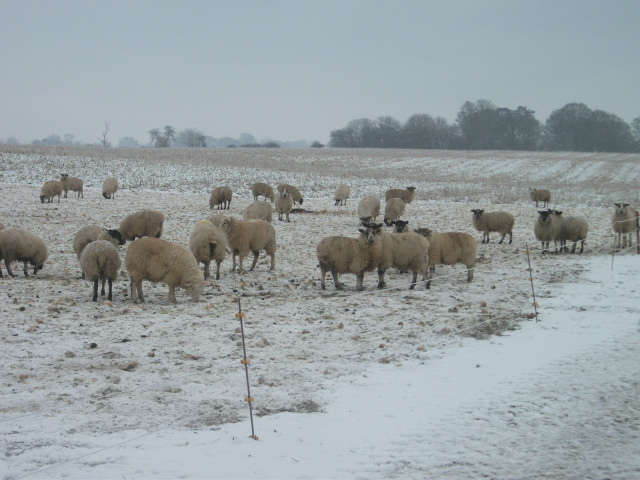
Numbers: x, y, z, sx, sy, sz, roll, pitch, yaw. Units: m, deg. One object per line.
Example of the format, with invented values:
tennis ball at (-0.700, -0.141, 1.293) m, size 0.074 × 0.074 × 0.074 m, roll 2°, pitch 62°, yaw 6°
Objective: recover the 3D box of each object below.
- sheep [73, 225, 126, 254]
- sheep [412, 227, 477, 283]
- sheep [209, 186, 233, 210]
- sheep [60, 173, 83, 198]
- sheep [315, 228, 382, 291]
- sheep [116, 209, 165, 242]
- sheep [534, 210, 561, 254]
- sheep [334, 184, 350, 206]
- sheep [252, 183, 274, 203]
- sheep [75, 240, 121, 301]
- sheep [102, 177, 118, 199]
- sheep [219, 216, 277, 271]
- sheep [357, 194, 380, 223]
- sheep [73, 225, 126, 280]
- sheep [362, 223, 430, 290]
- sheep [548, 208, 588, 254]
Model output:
sheep at (-6.155, -0.014, 22.956) m, size 1.362 × 1.061 × 0.654 m, roll 1°, pitch 12°, yaw -7°
sheep at (3.706, 0.494, 23.722) m, size 2.137 × 1.598 × 0.837 m, roll -2°, pitch -11°, yaw 32°
sheep at (-4.225, -1.851, 35.022) m, size 0.880 × 1.082 × 1.258 m, roll 1°, pitch 12°, yaw 5°
sheep at (-11.441, -2.501, 37.681) m, size 0.817 × 1.134 × 1.787 m, roll 3°, pitch 13°, yaw 14°
sheep at (0.918, 0.491, 22.767) m, size 2.399 × 1.830 × 0.861 m, roll -3°, pitch 1°, yaw 44°
sheep at (-5.824, -0.420, 26.376) m, size 1.582 × 1.063 × 0.671 m, roll 1°, pitch 7°, yaw 24°
sheep at (7.525, -0.319, 26.976) m, size 0.815 × 1.469 × 1.161 m, roll 4°, pitch 13°, yaw 18°
sheep at (1.034, -2.133, 38.727) m, size 0.594 × 0.890 × 1.262 m, roll 3°, pitch 13°, yaw 11°
sheep at (-2.601, -2.207, 37.808) m, size 0.616 × 0.855 × 1.728 m, roll -8°, pitch 15°, yaw -34°
sheep at (-5.759, 0.736, 21.637) m, size 0.996 × 1.636 × 2.161 m, roll 0°, pitch 4°, yaw -13°
sheep at (-9.745, -2.498, 37.863) m, size 0.410 × 0.745 × 1.288 m, roll 3°, pitch 19°, yaw -11°
sheep at (-2.221, 0.056, 24.464) m, size 2.068 × 1.771 × 0.942 m, roll -1°, pitch 6°, yaw -43°
sheep at (1.924, -1.199, 32.393) m, size 0.669 × 0.990 × 2.128 m, roll 2°, pitch 13°, yaw 8°
sheep at (-6.232, 0.317, 22.957) m, size 1.267 × 1.338 × 1.072 m, roll -4°, pitch 13°, yaw -20°
sheep at (2.029, 0.527, 22.809) m, size 2.350 × 1.641 × 0.935 m, roll 2°, pitch -2°, yaw -32°
sheep at (8.457, -0.349, 27.612) m, size 0.574 × 1.165 × 1.609 m, roll -6°, pitch 7°, yaw -4°
